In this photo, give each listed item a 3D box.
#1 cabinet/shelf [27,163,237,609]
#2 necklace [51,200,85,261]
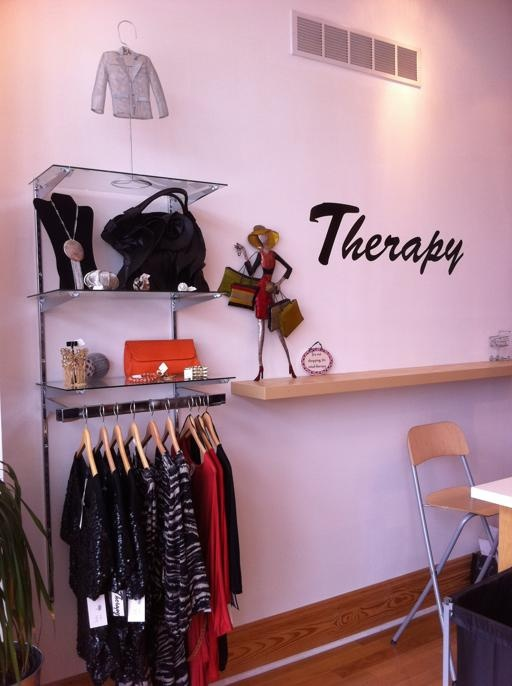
[{"bbox_3d":[-0.455,0.148,1.992,0.613,1.437,0.394,-4,6,-23],"label":"cabinet/shelf"},{"bbox_3d":[-0.587,-0.349,1.780,0.092,0.010,0.225,6,-39,0],"label":"necklace"}]
